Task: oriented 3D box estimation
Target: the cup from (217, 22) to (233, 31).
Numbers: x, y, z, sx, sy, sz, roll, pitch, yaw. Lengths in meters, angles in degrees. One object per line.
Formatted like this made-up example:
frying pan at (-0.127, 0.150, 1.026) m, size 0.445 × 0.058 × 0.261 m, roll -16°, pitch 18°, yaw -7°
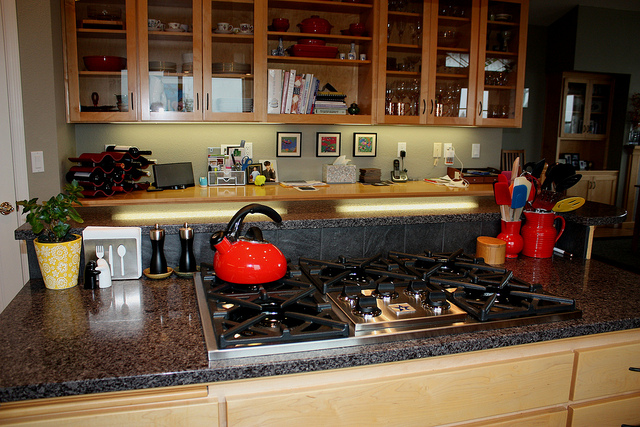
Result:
cup at (-0.774, -1.502, 3.679) m, size 0.096 × 0.050 × 0.064 m, roll -1°, pitch 6°, yaw -24°

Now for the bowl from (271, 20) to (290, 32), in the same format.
bowl at (-0.335, -1.552, 3.819) m, size 0.139 × 0.068 × 0.116 m, roll -2°, pitch 18°, yaw -10°

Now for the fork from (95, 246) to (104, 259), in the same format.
fork at (-0.925, 0.158, 1.917) m, size 0.033 × 0.051 × 0.016 m, roll -11°, pitch 14°, yaw -36°

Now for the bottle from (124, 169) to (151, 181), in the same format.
bottle at (-1.471, -0.316, 3.677) m, size 0.107 × 0.083 × 0.219 m, roll 0°, pitch 10°, yaw 13°

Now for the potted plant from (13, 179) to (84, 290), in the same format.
potted plant at (-1.101, 0.085, 1.909) m, size 0.238 × 0.440 × 0.244 m, roll -8°, pitch 12°, yaw -23°

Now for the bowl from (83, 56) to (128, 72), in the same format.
bowl at (-1.685, -1.162, 3.555) m, size 0.206 × 0.049 × 0.174 m, roll -1°, pitch 11°, yaw -11°

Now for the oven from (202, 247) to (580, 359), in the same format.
oven at (0.239, 0.310, 1.866) m, size 1.383 × 0.181 × 0.543 m, roll -3°, pitch 10°, yaw -11°

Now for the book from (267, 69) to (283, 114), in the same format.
book at (-0.395, -1.025, 3.834) m, size 0.157 × 0.324 × 0.379 m, roll 0°, pitch 13°, yaw -6°

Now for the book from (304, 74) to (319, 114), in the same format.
book at (-0.082, -1.013, 3.937) m, size 0.081 × 0.260 × 0.302 m, roll 10°, pitch -10°, yaw -1°

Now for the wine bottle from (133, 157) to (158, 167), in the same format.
wine bottle at (-1.398, -0.414, 3.661) m, size 0.095 × 0.074 × 0.204 m, roll 0°, pitch 10°, yaw 13°

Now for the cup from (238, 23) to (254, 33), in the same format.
cup at (-0.606, -1.503, 3.722) m, size 0.123 × 0.060 × 0.068 m, roll -1°, pitch 8°, yaw -15°

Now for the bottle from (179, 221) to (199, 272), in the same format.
bottle at (-0.601, 0.145, 2.049) m, size 0.080 × 0.215 × 0.153 m, roll -6°, pitch 11°, yaw -12°

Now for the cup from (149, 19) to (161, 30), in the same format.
cup at (-1.312, -1.476, 3.583) m, size 0.095 × 0.052 × 0.070 m, roll -6°, pitch 14°, yaw -39°

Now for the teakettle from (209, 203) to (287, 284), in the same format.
teakettle at (-0.291, 0.117, 1.824) m, size 0.284 × 0.292 × 0.151 m, roll -4°, pitch 12°, yaw -10°
